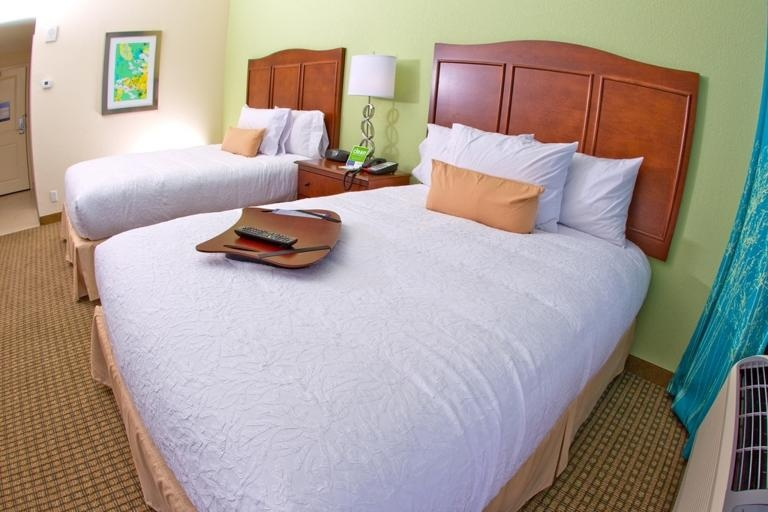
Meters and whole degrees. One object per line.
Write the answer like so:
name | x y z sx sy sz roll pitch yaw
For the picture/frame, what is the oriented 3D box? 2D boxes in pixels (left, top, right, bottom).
picture/frame | -2.804 -2.038 5.287 0.049 1.053 0.906 24 23 30

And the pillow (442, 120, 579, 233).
pillow | 0.835 -0.489 3.134 0.763 0.556 0.265 20 13 36

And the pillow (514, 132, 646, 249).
pillow | 1.254 -0.387 3.080 0.649 0.561 0.291 17 35 40
